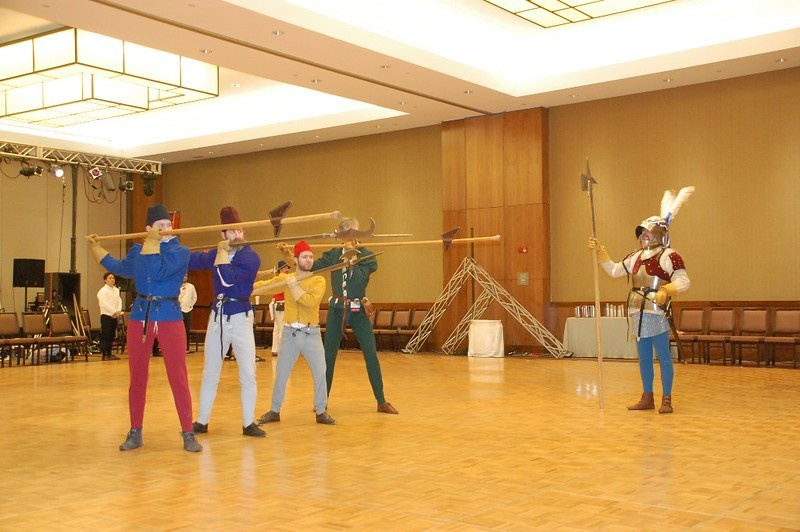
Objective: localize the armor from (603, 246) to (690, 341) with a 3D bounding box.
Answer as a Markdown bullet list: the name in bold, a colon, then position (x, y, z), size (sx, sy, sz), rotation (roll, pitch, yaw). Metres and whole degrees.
- **armor**: position (2.972, 0.321, 7.379), size (0.924, 1.100, 0.550), rotation (-1, 2, 22)

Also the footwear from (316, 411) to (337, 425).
- **footwear**: position (-0.822, 1.682, 6.723), size (0.246, 0.104, 0.093), rotation (-4, -5, 32)

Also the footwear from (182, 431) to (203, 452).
- **footwear**: position (-1.913, 1.643, 5.646), size (0.110, 0.114, 0.269), rotation (1, -9, -31)

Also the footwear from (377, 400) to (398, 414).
- **footwear**: position (-0.151, 1.708, 7.354), size (0.333, 0.138, 0.103), rotation (-4, -3, 34)

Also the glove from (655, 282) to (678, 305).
- **glove**: position (3.113, 0.326, 7.162), size (0.317, 0.250, 0.160), rotation (-2, 2, -26)

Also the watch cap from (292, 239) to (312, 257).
- **watch cap**: position (-1.073, -0.204, 6.717), size (0.159, 0.148, 0.212), rotation (3, -8, -31)

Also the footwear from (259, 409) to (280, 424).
- **footwear**: position (-1.449, 1.695, 6.780), size (0.268, 0.172, 0.091), rotation (7, -8, -28)

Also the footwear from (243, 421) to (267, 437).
- **footwear**: position (-1.473, 1.665, 6.186), size (0.299, 0.117, 0.103), rotation (-6, -6, 39)

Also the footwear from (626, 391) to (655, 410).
- **footwear**: position (2.858, 1.647, 7.429), size (0.430, 0.255, 0.151), rotation (2, -3, 8)

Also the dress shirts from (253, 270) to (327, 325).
- **dress shirts**: position (-1.267, 0.338, 6.693), size (0.889, 0.542, 0.508), rotation (8, 15, 13)

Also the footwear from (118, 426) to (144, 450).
- **footwear**: position (-2.566, 1.650, 5.745), size (0.121, 0.178, 0.276), rotation (-7, -14, 31)

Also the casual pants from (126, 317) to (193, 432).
- **casual pants**: position (-2.268, 1.038, 5.749), size (0.536, 1.094, 0.424), rotation (-2, 2, -24)

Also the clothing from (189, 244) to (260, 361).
- **clothing**: position (-1.651, 0.246, 6.213), size (0.806, 0.978, 0.688), rotation (-3, -8, 36)

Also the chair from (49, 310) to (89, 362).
- **chair**: position (-7.741, 1.611, 14.230), size (0.732, 1.019, 0.622), rotation (-3, -3, 32)
